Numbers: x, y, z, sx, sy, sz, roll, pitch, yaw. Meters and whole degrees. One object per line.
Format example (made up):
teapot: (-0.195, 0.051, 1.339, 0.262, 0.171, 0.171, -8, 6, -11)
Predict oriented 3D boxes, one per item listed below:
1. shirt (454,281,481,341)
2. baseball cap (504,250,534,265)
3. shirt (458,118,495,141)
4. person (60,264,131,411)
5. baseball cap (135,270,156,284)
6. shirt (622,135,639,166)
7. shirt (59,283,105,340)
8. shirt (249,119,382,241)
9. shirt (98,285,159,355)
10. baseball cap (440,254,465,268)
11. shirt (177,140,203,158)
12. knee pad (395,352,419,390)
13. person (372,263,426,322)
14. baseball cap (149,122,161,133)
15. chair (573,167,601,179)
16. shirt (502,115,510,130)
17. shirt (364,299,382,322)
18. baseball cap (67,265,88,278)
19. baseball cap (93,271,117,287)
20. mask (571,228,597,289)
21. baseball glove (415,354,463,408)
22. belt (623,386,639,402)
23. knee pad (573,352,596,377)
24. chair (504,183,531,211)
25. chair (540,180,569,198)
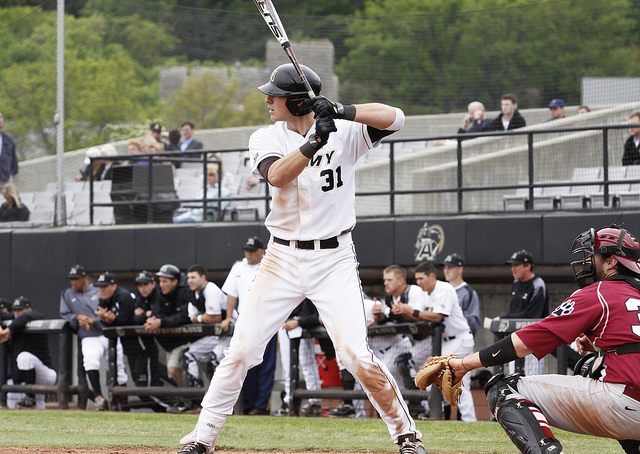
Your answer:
shirt: (2.352, 1.289, 25.884, 0.446, 0.855, 0.313, 0, -2, -36)
baseball cap: (3.155, 0.474, 25.642, 0.329, 0.192, 0.215, -3, -1, -4)
shirt: (2.780, -1.728, 28.678, 0.583, 0.436, 1.336, -2, -2, 6)
person: (-3.712, 1.800, 26.534, 0.799, 2.344, 1.468, -1, -2, -32)
baseball cap: (-2.864, 0.817, 26.652, 0.285, 0.210, 0.440, -2, -2, -6)
shirt: (5.069, -1.260, 26.588, 0.321, 0.416, 0.150, -3, -7, 38)
shirt: (-3.945, 1.365, 26.845, 0.707, 0.864, 0.308, -2, -17, -24)
shirt: (-0.057, -0.606, 22.513, 1.307, 1.926, 2.081, 14, 9, -11)
shirt: (-3.112, 1.514, 26.332, 0.500, 1.079, 0.973, 0, -3, -44)
baseball cap: (2.136, 0.527, 25.999, 0.268, 0.154, 0.188, 1, -3, -4)
shirt: (-2.326, -1.395, 28.859, 0.324, 0.298, 0.178, -1, -17, -4)
knee pad: (1.347, 2.243, 25.362, 0.175, 0.523, 0.374, -19, 4, 4)
person: (1.191, 1.019, 25.858, 0.808, 0.960, 1.001, 2, -10, -35)
baseball cap: (-2.958, -1.824, 29.425, 0.173, 0.200, 0.388, -2, -2, 9)
chair: (4.451, -0.922, 27.110, 0.474, 0.260, 0.246, 0, -13, 17)
shirt: (3.203, -1.832, 28.288, 0.152, 0.204, 0.182, -1, -11, 5)
shirt: (0.847, 1.311, 25.698, 0.266, 0.335, 0.556, -2, -2, 2)
baseball cap: (-4.022, 0.738, 26.926, 0.308, 0.181, 0.263, -1, -2, -16)
baseball cap: (-3.480, 0.837, 26.517, 0.301, 0.195, 0.212, 5, 3, -3)
mask: (3.612, 0.410, 21.882, 0.283, 0.773, 0.338, -10, 9, -41)
baseball glove: (1.683, 2.069, 21.988, 0.532, 0.718, 0.266, -30, -7, 19)
belt: (4.092, 2.184, 21.429, 0.196, 0.185, 0.023, -2, -2, -2)
knee pad: (3.482, 1.844, 21.773, 0.066, 0.290, 0.290, 21, -52, -15)
chair: (3.293, -0.511, 27.135, 0.360, 0.499, 0.482, -1, -10, 19)
chair: (3.877, -0.648, 26.971, 0.328, 0.409, 0.341, 4, -9, -2)
